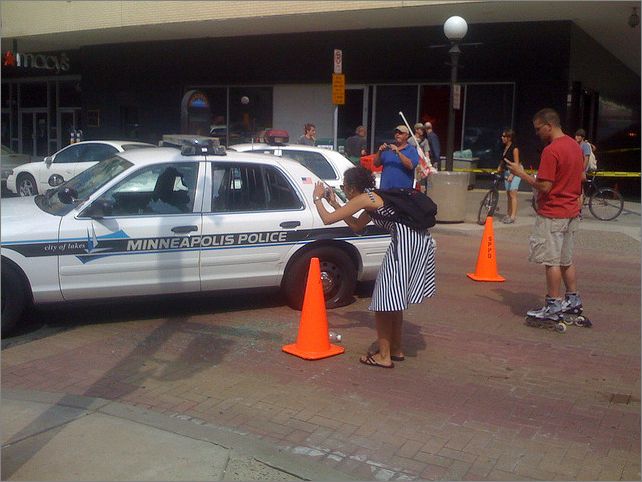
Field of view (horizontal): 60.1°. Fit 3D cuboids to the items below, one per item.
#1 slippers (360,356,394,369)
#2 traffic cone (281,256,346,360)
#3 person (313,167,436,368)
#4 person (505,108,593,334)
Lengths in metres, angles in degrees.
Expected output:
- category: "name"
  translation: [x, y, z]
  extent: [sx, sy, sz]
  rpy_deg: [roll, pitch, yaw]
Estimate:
- category: "slippers"
  translation: [0.566, 1.235, 5.703]
  extent: [0.309, 0.083, 0.136]
  rpy_deg: [10, 12, 25]
- category: "traffic cone"
  translation: [-0.081, 0.679, 6.114]
  extent: [0.559, 1.107, 0.581]
  rpy_deg: [-3, 7, -27]
- category: "person"
  translation: [0.566, 0.160, 5.547]
  extent: [1.060, 2.212, 0.924]
  rpy_deg: [0, 1, 28]
- category: "person"
  translation: [2.907, -0.218, 7.197]
  extent: [1.252, 2.739, 1.060]
  rpy_deg: [0, 1, 28]
